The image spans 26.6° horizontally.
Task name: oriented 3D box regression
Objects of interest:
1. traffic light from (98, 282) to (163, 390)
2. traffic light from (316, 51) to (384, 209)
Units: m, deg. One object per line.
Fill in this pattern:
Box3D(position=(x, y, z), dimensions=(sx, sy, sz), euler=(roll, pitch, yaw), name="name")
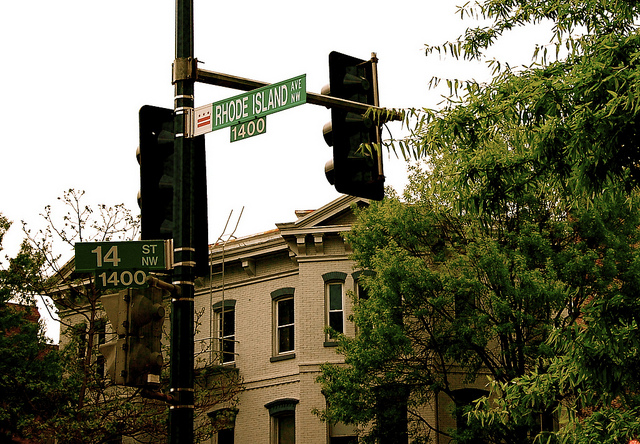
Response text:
Box3D(position=(-3.717, 2.264, 26.932), dimensions=(1.149, 2.008, 0.553), euler=(1, -20, -8), name="traffic light")
Box3D(position=(0.628, -1.898, 27.284), dimensions=(1.158, 2.836, 0.928), euler=(-2, -20, -1), name="traffic light")
